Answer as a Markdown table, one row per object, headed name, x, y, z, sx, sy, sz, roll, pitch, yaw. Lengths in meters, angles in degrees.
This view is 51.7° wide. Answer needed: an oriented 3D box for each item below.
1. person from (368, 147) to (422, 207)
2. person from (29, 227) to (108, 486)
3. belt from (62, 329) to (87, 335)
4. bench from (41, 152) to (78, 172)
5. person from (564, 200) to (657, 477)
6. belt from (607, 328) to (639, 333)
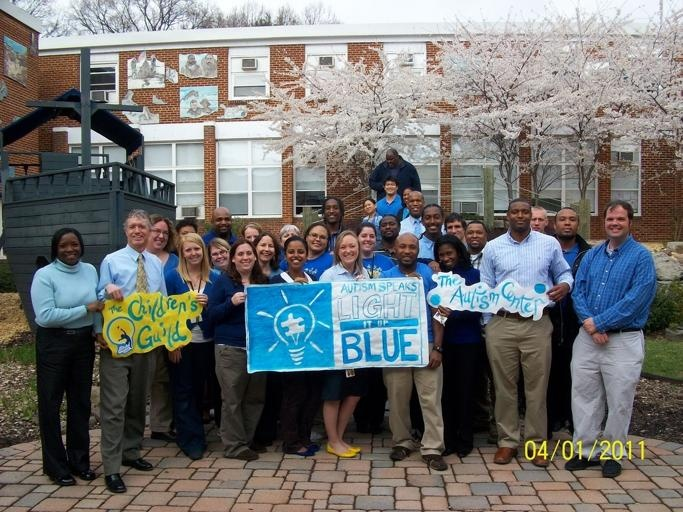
| name | x | y | z | sx | sy | sz | roll | pitch | yaw |
| --- | --- | --- | --- | --- | --- | --- | --- | --- | --- |
| person | 1.066 | -1.444 | 13.845 | 1.084 | 1.232 | 0.691 | -5 | 13 | 11 |
| person | -3.074 | 1.139 | 7.978 | 0.776 | 2.845 | 0.639 | -6 | 12 | -27 |
| belt | -2.998 | 0.857 | 7.935 | 0.213 | 0.076 | 0.025 | -5 | 12 | -27 |
| bench | -7.425 | -2.501 | 18.616 | 0.586 | 0.425 | 0.962 | 8 | 13 | 38 |
| person | 3.125 | 0.936 | 8.237 | 0.897 | 3.079 | 0.845 | 3 | 12 | 18 |
| belt | 3.250 | 0.873 | 8.157 | 0.344 | 0.086 | 0.043 | 1 | 11 | 7 |
